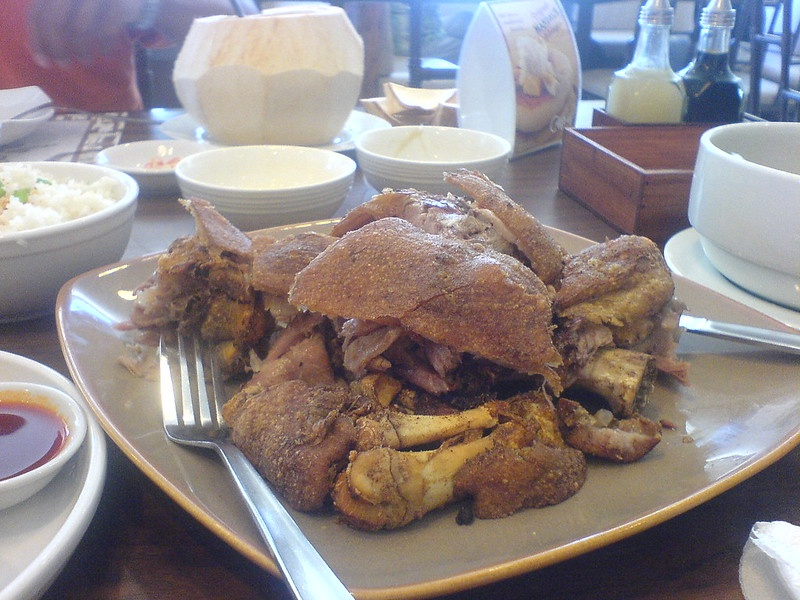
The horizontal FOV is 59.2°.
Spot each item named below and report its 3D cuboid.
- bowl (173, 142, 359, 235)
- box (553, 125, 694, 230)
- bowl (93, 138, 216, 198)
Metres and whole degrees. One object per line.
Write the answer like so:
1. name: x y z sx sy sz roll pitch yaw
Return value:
1. bowl: -0.297 -0.252 1.637 0.402 0.143 0.400 1 25 -1
2. box: 0.568 -0.311 1.734 0.333 0.120 0.329 30 38 26
3. bowl: -0.692 -0.388 1.890 0.167 0.054 0.163 15 32 -10
